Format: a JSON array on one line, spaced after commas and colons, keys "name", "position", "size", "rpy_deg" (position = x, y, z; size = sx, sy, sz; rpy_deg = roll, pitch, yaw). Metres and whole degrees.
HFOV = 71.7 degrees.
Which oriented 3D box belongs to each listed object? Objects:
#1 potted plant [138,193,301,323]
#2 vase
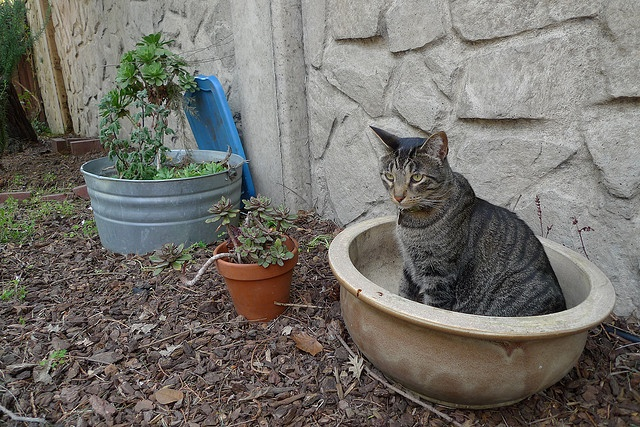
[{"name": "potted plant", "position": [-0.487, 0.234, 2.574], "size": [0.721, 0.688, 0.540], "rpy_deg": [0, 20, 2]}, {"name": "vase", "position": [0.740, 0.526, 2.037], "size": [0.991, 0.460, 0.987], "rpy_deg": [-9, 25, -18]}]
